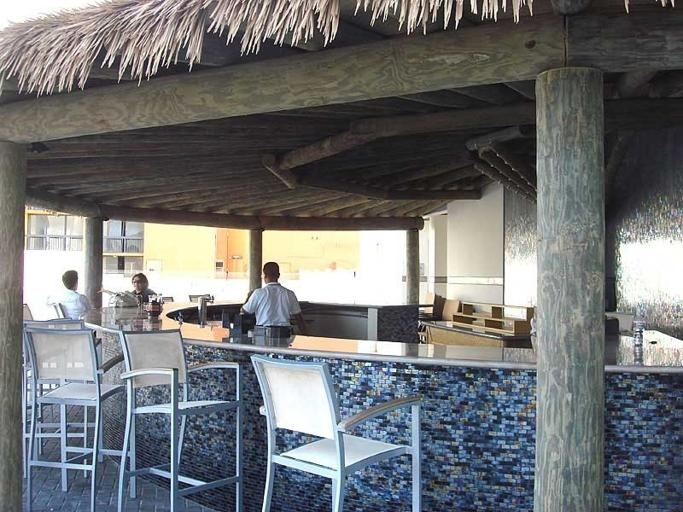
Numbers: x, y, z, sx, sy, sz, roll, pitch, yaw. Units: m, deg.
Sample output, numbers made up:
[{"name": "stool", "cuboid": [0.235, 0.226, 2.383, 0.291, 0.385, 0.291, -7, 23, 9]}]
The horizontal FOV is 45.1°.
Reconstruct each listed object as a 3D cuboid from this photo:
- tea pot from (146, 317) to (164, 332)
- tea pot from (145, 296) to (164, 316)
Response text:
[{"name": "tea pot", "cuboid": [-1.846, 0.675, 8.103, 0.108, 0.145, 0.107, 2, -2, 0]}, {"name": "tea pot", "cuboid": [-2.131, 0.562, 9.218, 0.197, 0.253, 0.236, 2, 2, 30]}]
